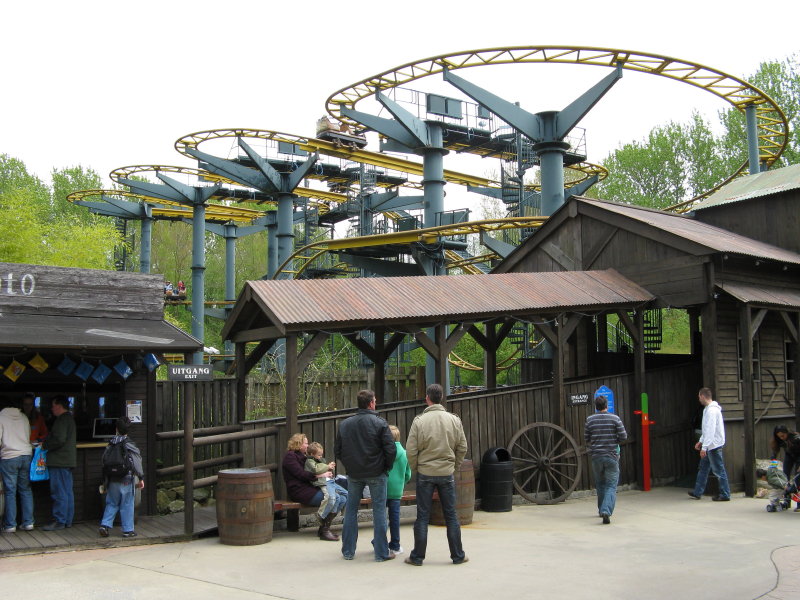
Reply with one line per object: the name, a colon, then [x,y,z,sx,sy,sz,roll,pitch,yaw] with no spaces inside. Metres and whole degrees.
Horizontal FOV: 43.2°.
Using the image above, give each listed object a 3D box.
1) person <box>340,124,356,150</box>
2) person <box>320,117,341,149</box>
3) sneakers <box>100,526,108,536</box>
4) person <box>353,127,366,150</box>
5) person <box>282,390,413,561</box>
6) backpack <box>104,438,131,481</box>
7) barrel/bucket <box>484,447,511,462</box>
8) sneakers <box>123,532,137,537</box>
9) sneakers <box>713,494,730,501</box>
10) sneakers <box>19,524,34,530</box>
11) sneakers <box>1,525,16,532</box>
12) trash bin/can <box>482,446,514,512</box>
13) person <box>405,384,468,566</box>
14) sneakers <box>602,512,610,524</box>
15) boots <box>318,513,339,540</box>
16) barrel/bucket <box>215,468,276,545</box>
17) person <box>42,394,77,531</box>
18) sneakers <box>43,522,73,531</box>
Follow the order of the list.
person: [-2.241,-6.777,41.584,0.582,1.040,1.332,-2,-8,4]
person: [-2.963,-6.825,41.066,0.944,0.974,0.646,6,-11,-39]
sneakers: [-4.717,3.665,16.000,0.083,0.078,0.189,1,-16,0]
person: [-1.849,-6.706,42.302,0.578,0.706,1.725,-2,-8,8]
person: [-0.504,2.606,15.026,0.931,2.491,0.577,-3,-8,9]
backpack: [-4.566,2.558,16.242,0.478,0.608,0.353,-2,1,11]
barrel/bucket: [1.811,2.903,18.847,0.304,0.187,0.310,-3,-19,-1]
sneakers: [-4.326,3.715,16.053,0.199,0.080,0.070,-1,-3,-7]
sneakers: [6.240,3.830,19.596,0.323,0.121,0.116,2,-6,9]
sneakers: [-6.030,3.649,16.224,0.200,0.115,0.236,2,-9,-22]
sneakers: [-6.304,3.652,16.149,0.205,0.083,0.074,1,-1,33]
trash bin/can: [1.787,3.336,18.864,0.723,1.131,0.687,1,-6,-17]
person: [0.513,2.573,15.014,0.944,2.637,0.398,-1,-8,0]
sneakers: [3.558,3.758,17.414,0.078,0.229,0.099,-4,27,7]
boots: [-1.223,3.664,16.367,0.411,0.504,0.320,3,-6,-8]
barrel/bucket: [-2.457,3.248,15.861,0.862,1.172,0.491,0,-8,-11]
person: [-5.586,2.641,16.516,0.467,2.113,0.401,1,-9,-17]
sneakers: [-5.614,3.668,16.411,0.395,0.157,0.141,5,-7,-5]
